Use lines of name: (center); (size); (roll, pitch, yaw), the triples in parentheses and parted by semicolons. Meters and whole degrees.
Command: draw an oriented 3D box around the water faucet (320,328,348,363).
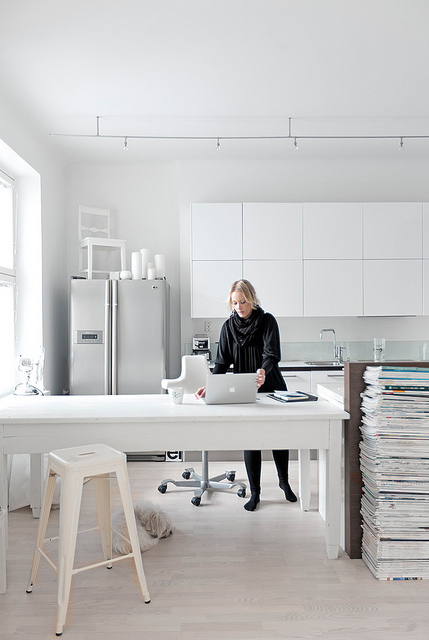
water faucet: (1.035, 0.213, 5.051); (0.241, 0.271, 0.327); (0, 3, 13)

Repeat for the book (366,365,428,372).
book: (0.837, 0.216, 2.639); (0.253, 0.027, 0.161); (0, 3, -4)

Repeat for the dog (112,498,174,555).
dog: (-0.410, 1.038, 2.956); (0.266, 0.230, 0.405); (9, -4, 44)

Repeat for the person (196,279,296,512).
person: (0.227, 0.451, 3.395); (0.627, 1.347, 0.561); (-4, 3, -33)

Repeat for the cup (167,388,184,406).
cup: (-0.197, 0.386, 2.974); (0.064, 0.077, 0.085); (0, -3, 16)

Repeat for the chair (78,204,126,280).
chair: (-0.962, -0.675, 4.920); (0.368, 0.670, 0.645); (-1, 3, -13)

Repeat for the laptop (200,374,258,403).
laptop: (0.082, 0.334, 2.849); (0.202, 0.137, 0.149); (1, 7, -12)

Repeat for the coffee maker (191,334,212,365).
coffee maker: (-0.097, 0.261, 4.950); (0.186, 0.346, 0.198); (1, 3, 5)
